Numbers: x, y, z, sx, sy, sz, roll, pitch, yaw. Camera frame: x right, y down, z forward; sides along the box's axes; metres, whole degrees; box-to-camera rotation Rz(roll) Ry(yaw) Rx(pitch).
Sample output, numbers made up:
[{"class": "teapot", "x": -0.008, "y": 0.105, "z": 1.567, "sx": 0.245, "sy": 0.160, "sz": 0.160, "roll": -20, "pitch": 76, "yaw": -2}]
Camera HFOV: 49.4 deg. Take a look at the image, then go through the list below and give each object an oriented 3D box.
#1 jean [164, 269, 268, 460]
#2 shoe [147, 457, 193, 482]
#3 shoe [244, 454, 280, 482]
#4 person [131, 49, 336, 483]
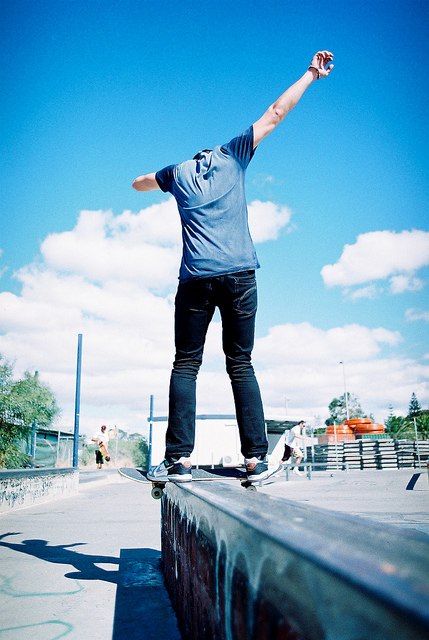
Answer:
[{"class": "jean", "x": 0.011, "y": 0.173, "z": 2.384, "sx": 0.536, "sy": 1.366, "sz": 0.301, "roll": 1, "pitch": 28, "yaw": 0}, {"class": "shoe", "x": -0.224, "y": 0.731, "z": 2.281, "sx": 0.266, "sy": 0.121, "sz": 0.106, "roll": -9, "pitch": -32, "yaw": 41}, {"class": "shoe", "x": 0.236, "y": 0.731, "z": 2.357, "sx": 0.087, "sy": 0.116, "sz": 0.244, "roll": -11, "pitch": 0, "yaw": 32}, {"class": "person", "x": 0.024, "y": -0.213, "z": 2.386, "sx": 0.965, "sy": 2.026, "sz": 0.410, "roll": -3, "pitch": -10, "yaw": 12}]
